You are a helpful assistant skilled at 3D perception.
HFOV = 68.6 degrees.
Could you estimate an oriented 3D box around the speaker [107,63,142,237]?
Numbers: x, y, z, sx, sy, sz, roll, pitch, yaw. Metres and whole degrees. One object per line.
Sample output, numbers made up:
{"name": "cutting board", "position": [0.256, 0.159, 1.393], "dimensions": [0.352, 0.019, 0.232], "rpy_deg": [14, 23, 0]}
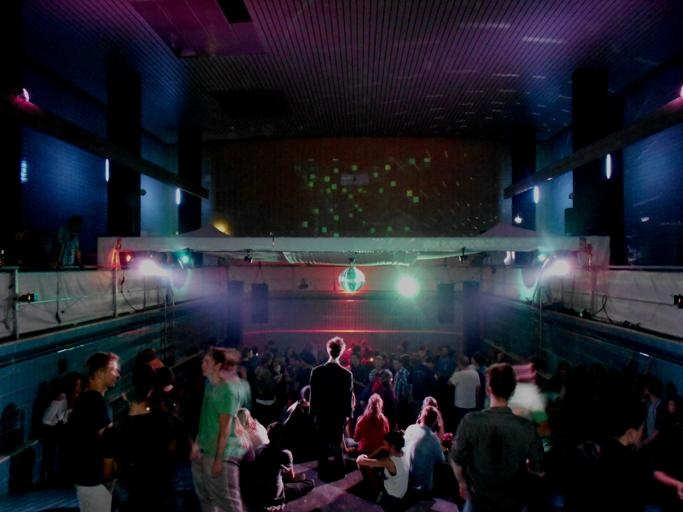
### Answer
{"name": "speaker", "position": [-4.286, -2.032, 9.883], "dimensions": [0.687, 3.294, 0.796], "rpy_deg": [2, -3, -25]}

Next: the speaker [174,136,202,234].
{"name": "speaker", "position": [-3.877, -1.923, 12.794], "dimensions": [0.627, 2.634, 1.009], "rpy_deg": [2, -3, -18]}

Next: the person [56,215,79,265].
{"name": "person", "position": [-4.351, -0.237, 8.019], "dimensions": [0.312, 0.844, 0.776], "rpy_deg": [3, -3, -29]}

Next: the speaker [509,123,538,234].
{"name": "speaker", "position": [4.643, -1.974, 12.695], "dimensions": [0.601, 2.795, 0.606], "rpy_deg": [12, -14, -33]}
